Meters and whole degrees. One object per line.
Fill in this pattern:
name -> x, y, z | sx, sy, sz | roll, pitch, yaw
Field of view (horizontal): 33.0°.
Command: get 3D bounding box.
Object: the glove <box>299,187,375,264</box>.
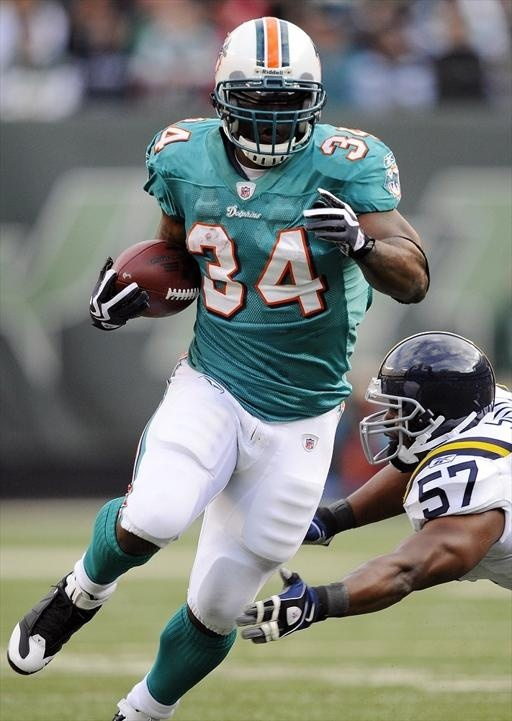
glove -> 0.189, -0.300, 1.922 | 0.200, 0.117, 0.069 | 29, 36, 0

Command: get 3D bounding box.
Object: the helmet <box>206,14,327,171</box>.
helmet -> 0.036, -0.658, 2.094 | 0.341, 0.323, 0.378 | 0, 17, -2

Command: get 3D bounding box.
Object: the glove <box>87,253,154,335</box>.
glove -> -0.368, -0.154, 2.339 | 0.165, 0.169, 0.081 | 45, 1, 7

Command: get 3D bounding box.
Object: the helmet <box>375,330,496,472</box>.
helmet -> 0.386, 0.059, 1.871 | 0.351, 0.251, 0.234 | -4, -2, 7

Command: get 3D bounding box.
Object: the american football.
american football -> -0.260, -0.223, 2.421 | 0.260, 0.167, 0.191 | 2, 3, -43
